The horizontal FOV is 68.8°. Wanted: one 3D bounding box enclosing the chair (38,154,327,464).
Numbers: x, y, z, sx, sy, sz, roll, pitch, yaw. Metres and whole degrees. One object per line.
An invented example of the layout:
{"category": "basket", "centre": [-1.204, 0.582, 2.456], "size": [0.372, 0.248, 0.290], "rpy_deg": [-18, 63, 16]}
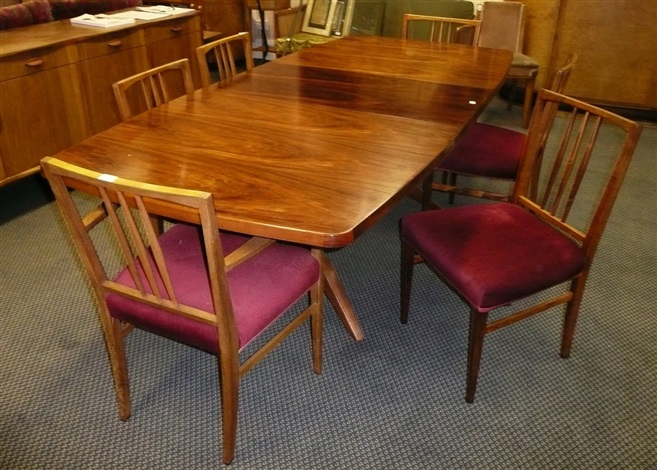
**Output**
{"category": "chair", "centre": [-0.482, 0.297, 1.668], "size": [0.744, 1.067, 0.676], "rpy_deg": [19, 43, 21]}

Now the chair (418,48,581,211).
{"category": "chair", "centre": [0.867, -0.404, 2.550], "size": [0.496, 0.676, 0.410], "rpy_deg": [20, 20, 24]}

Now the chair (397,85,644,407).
{"category": "chair", "centre": [0.700, 0.018, 1.907], "size": [0.694, 0.974, 0.607], "rpy_deg": [-11, 34, -8]}
